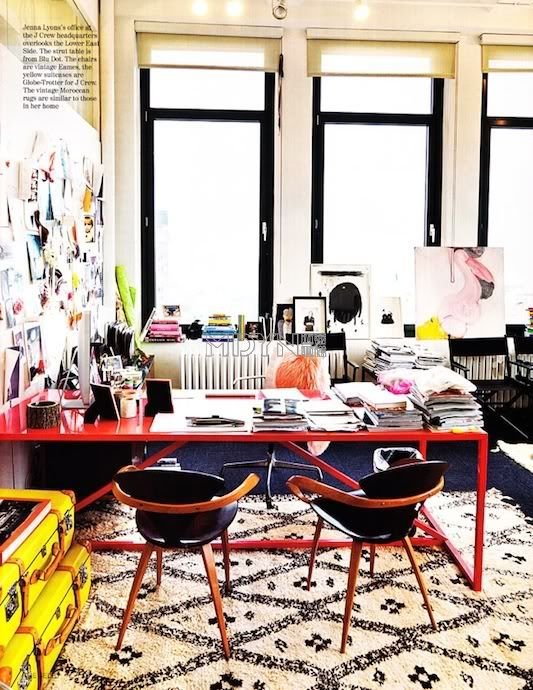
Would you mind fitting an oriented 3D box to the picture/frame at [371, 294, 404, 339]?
[{"bbox_3d":[1.137,-0.267,5.036,0.343,0.531,0.053,1,-9,-5],"label":"picture/frame"}]

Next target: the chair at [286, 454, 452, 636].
[{"bbox_3d":[0.387,0.700,2.010,0.524,0.754,0.501,-5,12,-24],"label":"chair"}]

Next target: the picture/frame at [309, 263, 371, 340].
[{"bbox_3d":[0.653,-0.411,4.809,0.583,0.840,0.057,0,-1,-9],"label":"picture/frame"}]

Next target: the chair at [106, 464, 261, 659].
[{"bbox_3d":[-0.283,0.682,1.878,0.472,0.684,0.455,0,10,-5],"label":"chair"}]

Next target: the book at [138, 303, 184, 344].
[{"bbox_3d":[-0.958,-0.206,4.861,0.399,0.332,0.357,-1,6,-11],"label":"book"}]
